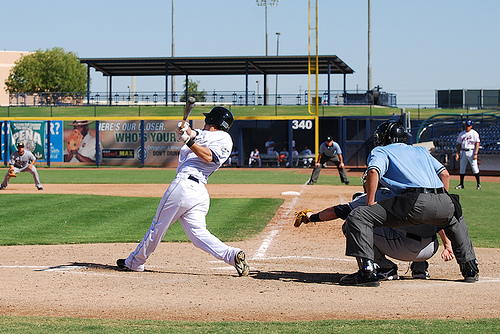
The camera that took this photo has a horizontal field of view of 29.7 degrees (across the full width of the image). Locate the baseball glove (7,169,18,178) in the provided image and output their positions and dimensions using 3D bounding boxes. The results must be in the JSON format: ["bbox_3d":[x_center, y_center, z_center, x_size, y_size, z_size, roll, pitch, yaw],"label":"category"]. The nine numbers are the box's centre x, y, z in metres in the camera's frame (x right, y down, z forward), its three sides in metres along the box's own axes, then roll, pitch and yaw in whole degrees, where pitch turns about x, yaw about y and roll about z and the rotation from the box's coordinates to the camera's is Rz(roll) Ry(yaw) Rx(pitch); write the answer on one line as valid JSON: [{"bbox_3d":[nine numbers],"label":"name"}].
[{"bbox_3d":[-7.769,0.190,30.725,0.250,0.251,0.535,-1,4,-14],"label":"baseball glove"}]

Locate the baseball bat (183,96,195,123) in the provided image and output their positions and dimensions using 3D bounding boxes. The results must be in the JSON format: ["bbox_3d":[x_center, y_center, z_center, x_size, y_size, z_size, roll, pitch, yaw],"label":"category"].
[{"bbox_3d":[-1.345,-1.298,20.641,0.196,0.735,0.111,14,-12,6],"label":"baseball bat"}]

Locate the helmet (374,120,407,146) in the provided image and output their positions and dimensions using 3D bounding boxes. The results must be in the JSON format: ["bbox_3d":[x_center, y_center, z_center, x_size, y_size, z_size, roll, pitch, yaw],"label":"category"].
[{"bbox_3d":[3.134,-0.781,21.000,0.645,0.489,0.497,25,26,36],"label":"helmet"}]

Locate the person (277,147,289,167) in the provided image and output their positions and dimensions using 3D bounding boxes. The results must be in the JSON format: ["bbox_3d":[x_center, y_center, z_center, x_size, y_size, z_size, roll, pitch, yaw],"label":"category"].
[{"bbox_3d":[1.548,-0.409,44.313,0.525,0.667,0.881,0,4,1],"label":"person"}]

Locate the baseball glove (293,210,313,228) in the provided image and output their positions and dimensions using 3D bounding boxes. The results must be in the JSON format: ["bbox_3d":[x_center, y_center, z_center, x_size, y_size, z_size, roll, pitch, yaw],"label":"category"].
[{"bbox_3d":[1.138,1.187,21.258,0.253,0.558,0.199,31,23,-30],"label":"baseball glove"}]
